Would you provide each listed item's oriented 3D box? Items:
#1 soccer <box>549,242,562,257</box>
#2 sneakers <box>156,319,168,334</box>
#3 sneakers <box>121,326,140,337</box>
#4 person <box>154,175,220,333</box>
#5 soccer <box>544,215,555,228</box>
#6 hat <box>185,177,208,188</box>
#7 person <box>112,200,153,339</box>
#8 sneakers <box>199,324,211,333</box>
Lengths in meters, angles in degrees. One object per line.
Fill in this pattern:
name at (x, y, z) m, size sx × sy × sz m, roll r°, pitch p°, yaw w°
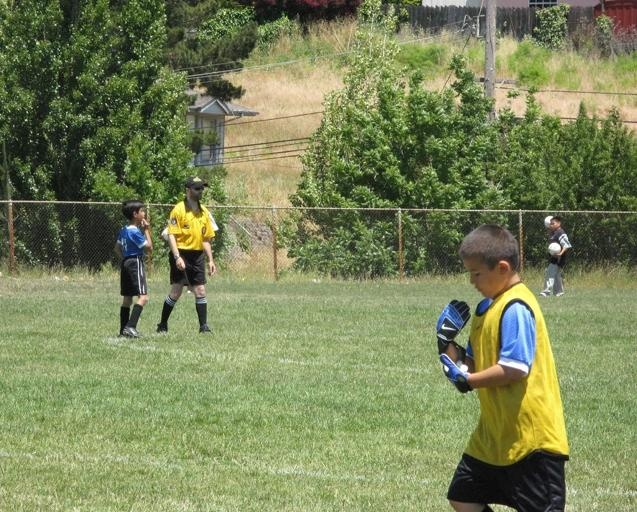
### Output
soccer at (6.205, -0.157, 34.095) m, size 0.236 × 0.354 × 0.281 m, roll 5°, pitch -9°, yaw 20°
sneakers at (-3.254, 1.511, 27.035) m, size 0.253 × 0.315 × 0.162 m, roll 5°, pitch -7°, yaw -9°
sneakers at (-3.830, 1.580, 26.447) m, size 0.348 × 0.229 × 0.168 m, roll 10°, pitch 1°, yaw -2°
person at (-2.663, 0.026, 26.668) m, size 1.142 × 3.210 × 0.759 m, roll -1°, pitch 2°, yaw -8°
soccer at (6.281, -0.895, 35.268) m, size 0.236 × 0.359 × 0.321 m, roll -5°, pitch 46°, yaw -3°
hat at (-2.537, -1.455, 26.460) m, size 0.330 × 0.210 × 0.242 m, roll 1°, pitch 3°, yaw 39°
person at (-3.784, 0.283, 26.603) m, size 0.682 × 2.782 × 0.974 m, roll -1°, pitch 2°, yaw -9°
sneakers at (-2.397, 1.531, 27.097) m, size 0.120 × 0.131 × 0.251 m, roll 1°, pitch -4°, yaw -22°
